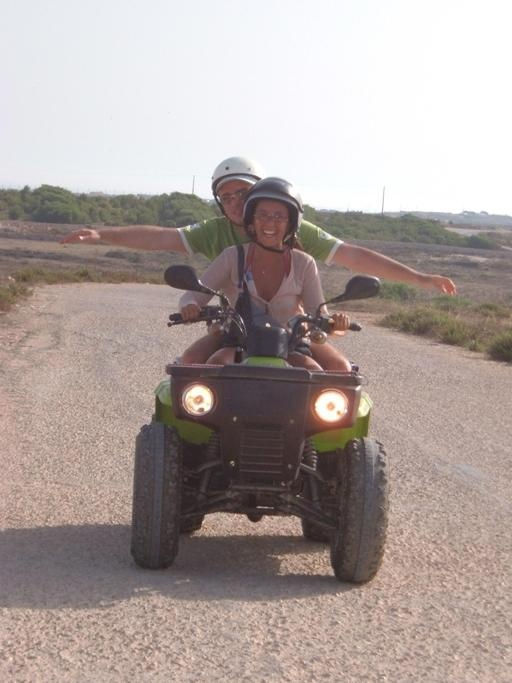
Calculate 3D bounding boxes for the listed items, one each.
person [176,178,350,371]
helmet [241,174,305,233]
[{"bbox_3d":[0.046,-0.397,3.688,1.055,1.302,0.907,1,15,-2],"label":"person"},{"bbox_3d":[0.106,-0.813,3.549,0.353,0.287,0.284,5,-5,-2],"label":"helmet"}]
